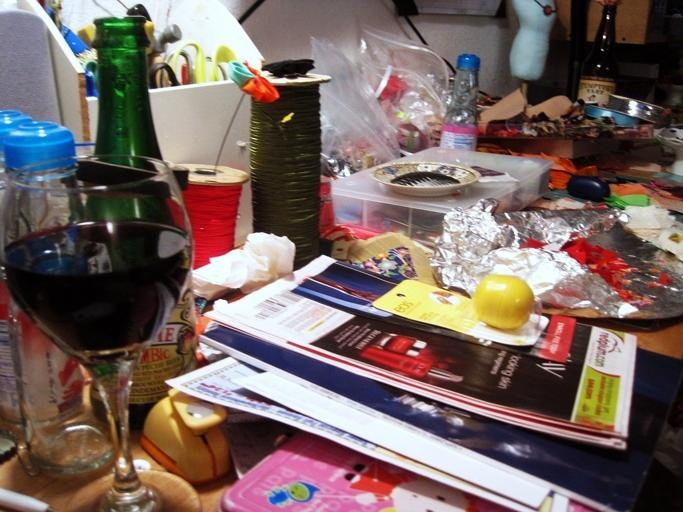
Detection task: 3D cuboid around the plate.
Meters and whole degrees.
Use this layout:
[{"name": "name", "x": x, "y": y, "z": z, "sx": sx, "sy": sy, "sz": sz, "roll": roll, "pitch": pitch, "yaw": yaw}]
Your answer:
[{"name": "plate", "x": 0.149, "y": -0.135, "z": 0.931, "sx": 0.185, "sy": 0.042, "sz": 0.164, "roll": -1, "pitch": 18, "yaw": 1}]

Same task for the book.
[{"name": "book", "x": 0.081, "y": 0.102, "z": 0.526, "sx": 0.432, "sy": 0.084, "sz": 0.301, "roll": 8, "pitch": 21, "yaw": 28}]

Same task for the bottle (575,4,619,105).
[{"name": "bottle", "x": 0.782, "y": -0.609, "z": 1.577, "sx": 0.102, "sy": 0.295, "sz": 0.320, "roll": 8, "pitch": 24, "yaw": 24}]

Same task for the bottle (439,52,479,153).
[{"name": "bottle", "x": 0.281, "y": -0.363, "z": 1.238, "sx": 0.084, "sy": 0.216, "sz": 0.215, "roll": 2, "pitch": 22, "yaw": 13}]
